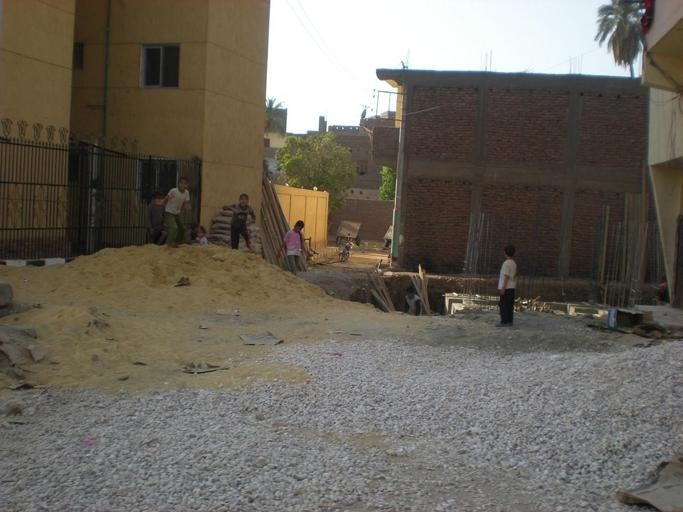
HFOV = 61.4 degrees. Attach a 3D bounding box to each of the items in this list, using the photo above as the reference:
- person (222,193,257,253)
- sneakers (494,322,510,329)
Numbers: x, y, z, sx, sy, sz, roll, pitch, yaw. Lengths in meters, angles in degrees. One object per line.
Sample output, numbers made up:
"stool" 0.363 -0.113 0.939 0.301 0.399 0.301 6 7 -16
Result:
"person" -2.644 -0.925 15.290 0.589 1.489 0.876 1 10 -12
"sneakers" 3.048 1.308 10.945 0.240 0.088 0.095 1 2 2
